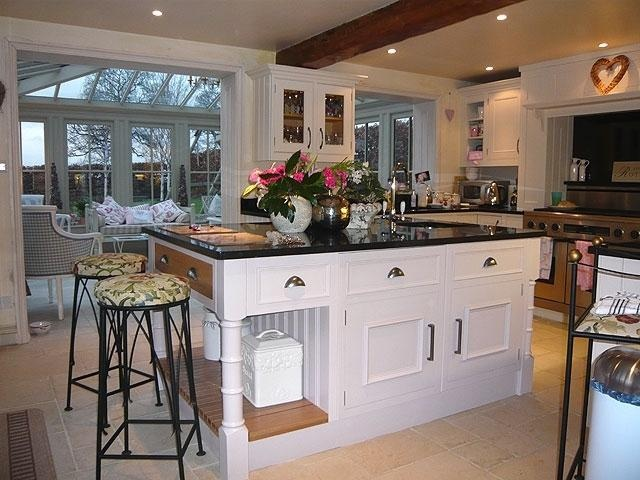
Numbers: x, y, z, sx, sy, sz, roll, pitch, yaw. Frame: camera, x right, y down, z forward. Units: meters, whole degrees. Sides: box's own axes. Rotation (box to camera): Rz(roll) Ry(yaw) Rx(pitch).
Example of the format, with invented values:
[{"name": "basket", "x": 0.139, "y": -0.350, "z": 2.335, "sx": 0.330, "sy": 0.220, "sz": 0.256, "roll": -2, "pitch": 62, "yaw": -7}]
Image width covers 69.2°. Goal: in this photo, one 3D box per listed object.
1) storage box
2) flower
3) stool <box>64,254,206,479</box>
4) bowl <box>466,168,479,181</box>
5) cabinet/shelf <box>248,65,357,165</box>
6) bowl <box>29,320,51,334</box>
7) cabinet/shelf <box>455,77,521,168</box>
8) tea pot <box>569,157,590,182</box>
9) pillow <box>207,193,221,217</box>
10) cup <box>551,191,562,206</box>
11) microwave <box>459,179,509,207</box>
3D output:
[{"name": "storage box", "x": -0.294, "y": 0.747, "z": 2.811, "sx": 0.322, "sy": 0.404, "sz": 0.317, "roll": -1, "pitch": 1, "yaw": -24}, {"name": "flower", "x": -0.039, "y": -0.360, "z": 3.021, "sx": 0.781, "sy": 0.384, "sz": 0.784, "roll": 2, "pitch": 5, "yaw": 20}, {"name": "stool", "x": -1.110, "y": 0.802, "z": 2.812, "sx": 0.475, "sy": 0.717, "sz": 1.092, "roll": 0, "pitch": 7, "yaw": -28}, {"name": "bowl", "x": 2.229, "y": -0.959, "z": 6.876, "sx": 0.184, "sy": 0.199, "sz": 0.182, "roll": 0, "pitch": 12, "yaw": 0}, {"name": "cabinet/shelf", "x": -0.164, "y": -1.398, "z": 5.460, "sx": 1.205, "sy": 1.014, "sz": 0.439, "roll": -4, "pitch": 10, "yaw": -33}, {"name": "bowl", "x": -2.698, "y": 0.851, "z": 4.518, "sx": 0.140, "sy": 0.061, "sz": 0.126, "roll": 2, "pitch": 1, "yaw": -2}, {"name": "cabinet/shelf", "x": 2.329, "y": -1.626, "z": 6.368, "sx": 0.510, "sy": 1.263, "sz": 1.305, "roll": -3, "pitch": 6, "yaw": -21}, {"name": "tea pot", "x": 3.155, "y": -0.840, "z": 5.643, "sx": 0.189, "sy": 0.287, "sz": 0.142, "roll": 9, "pitch": 14, "yaw": 28}, {"name": "pillow", "x": -2.108, "y": -0.712, "z": 9.566, "sx": 0.186, "sy": 0.464, "sz": 0.465, "roll": 14, "pitch": -9, "yaw": -35}, {"name": "cup", "x": 2.824, "y": -0.483, "z": 5.540, "sx": 0.127, "sy": 0.173, "sz": 0.198, "roll": 8, "pitch": 13, "yaw": 25}, {"name": "microwave", "x": 2.377, "y": -0.656, "z": 6.551, "sx": 0.389, "sy": 0.367, "sz": 0.571, "roll": -3, "pitch": 6, "yaw": -31}]
